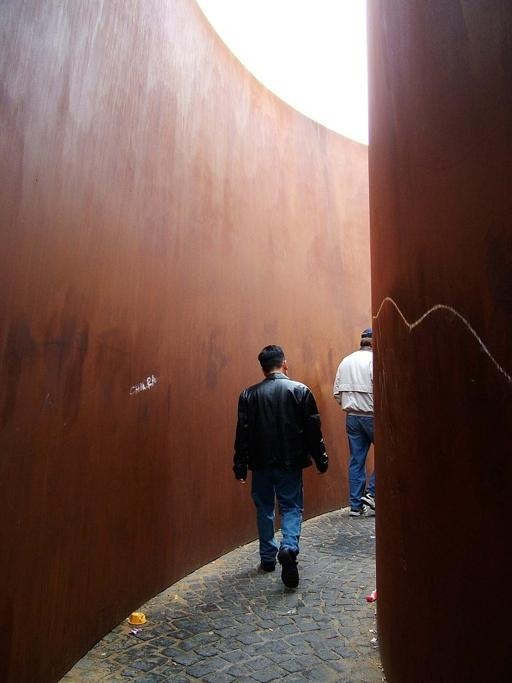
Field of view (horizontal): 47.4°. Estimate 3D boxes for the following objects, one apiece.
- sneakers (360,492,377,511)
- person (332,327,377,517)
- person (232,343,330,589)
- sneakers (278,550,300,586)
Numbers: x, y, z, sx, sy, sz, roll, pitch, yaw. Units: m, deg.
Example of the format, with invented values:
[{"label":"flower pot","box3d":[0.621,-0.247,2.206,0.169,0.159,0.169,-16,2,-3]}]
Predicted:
[{"label":"sneakers","box3d":[1.197,1.718,6.205,0.120,0.197,0.336,-1,-5,17]},{"label":"person","box3d":[1.043,0.857,6.208,0.391,1.943,0.419,-1,-4,10]},{"label":"person","box3d":[0.149,0.864,4.425,0.744,1.692,0.544,-3,-5,40]},{"label":"sneakers","box3d":[0.216,1.494,3.863,0.079,0.365,0.123,-6,13,12]}]
